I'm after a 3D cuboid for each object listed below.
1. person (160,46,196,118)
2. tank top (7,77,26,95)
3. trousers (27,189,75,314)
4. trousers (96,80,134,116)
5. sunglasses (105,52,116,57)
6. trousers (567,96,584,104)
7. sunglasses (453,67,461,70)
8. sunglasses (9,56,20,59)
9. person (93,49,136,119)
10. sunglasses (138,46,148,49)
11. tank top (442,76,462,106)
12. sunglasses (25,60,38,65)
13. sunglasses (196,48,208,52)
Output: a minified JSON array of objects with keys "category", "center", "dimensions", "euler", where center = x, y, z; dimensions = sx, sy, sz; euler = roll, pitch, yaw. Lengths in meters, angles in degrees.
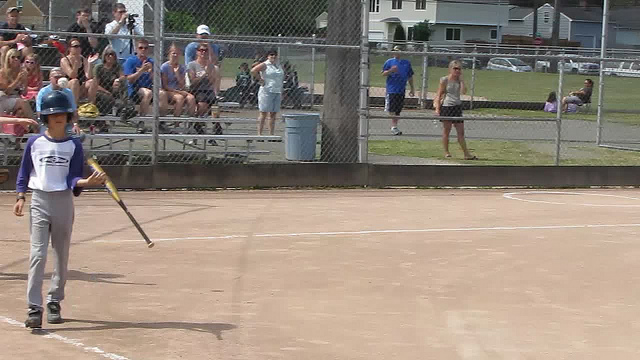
[{"category":"person","center":[-3.094,-2.171,24.305],"dimensions":[0.554,1.534,0.698],"euler":[-7,13,-40]},{"category":"tank top","center":[-6.321,-1.979,23.439],"dimensions":[0.393,0.271,0.089],"euler":[1,13,-35]},{"category":"trousers","center":[-4.337,1.173,18.044],"dimensions":[0.728,2.050,0.601],"euler":[0,11,-11]},{"category":"trousers","center":[-4.433,-1.776,24.241],"dimensions":[1.177,0.723,0.625],"euler":[2,-3,-10]},{"category":"sunglasses","center":[-4.520,-2.758,24.194],"dimensions":[0.199,0.069,0.058],"euler":[-5,11,-36]},{"category":"trousers","center":[7.624,-2.438,33.425],"dimensions":[0.539,0.140,0.293],"euler":[6,-5,-24]},{"category":"sunglasses","center":[3.266,-2.672,26.440],"dimensions":[0.184,0.046,0.073],"euler":[-4,9,-31]},{"category":"sunglasses","center":[-6.282,-2.567,23.143],"dimensions":[0.089,0.053,0.226],"euler":[6,9,30]},{"category":"person","center":[-4.426,-2.127,24.208],"dimensions":[0.866,1.462,0.515],"euler":[-1,11,-16]},{"category":"sunglasses","center":[-3.815,-2.924,24.389],"dimensions":[0.050,0.055,0.204],"euler":[9,11,41]},{"category":"tank top","center":[3.140,-2.124,26.431],"dimensions":[0.445,0.684,0.240],"euler":[2,10,5]},{"category":"sunglasses","center":[-6.033,-2.502,23.401],"dimensions":[0.229,0.081,0.112],"euler":[0,8,-11]},{"category":"sunglasses","center":[-2.553,-2.875,24.430],"dimensions":[0.233,0.082,0.057],"euler":[1,9,-2]}]
